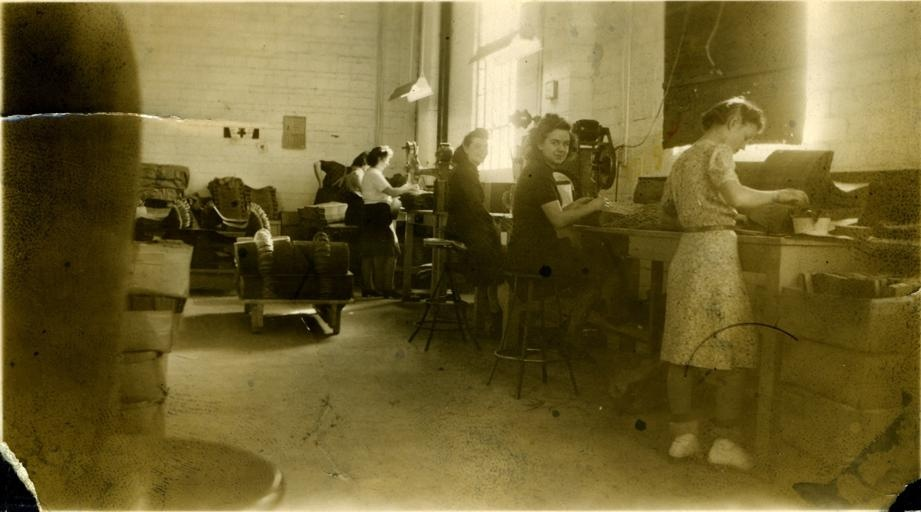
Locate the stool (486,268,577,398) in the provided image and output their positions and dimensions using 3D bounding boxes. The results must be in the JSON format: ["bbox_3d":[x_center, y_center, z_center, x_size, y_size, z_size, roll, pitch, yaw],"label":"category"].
[{"bbox_3d":[0.732,0.592,6.030,0.702,0.804,0.646,-13,-9,-31],"label":"stool"}]

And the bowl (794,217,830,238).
[{"bbox_3d":[2.251,-0.187,4.821,0.293,0.116,0.118,-4,7,-25],"label":"bowl"}]

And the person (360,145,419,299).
[{"bbox_3d":[-0.879,-0.405,8.978,0.603,1.750,0.915,-2,7,-7],"label":"person"}]

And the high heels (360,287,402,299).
[{"bbox_3d":[-0.937,0.435,9.036,0.533,0.133,0.164,-1,2,-4],"label":"high heels"}]

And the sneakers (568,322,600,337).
[{"bbox_3d":[1.036,0.605,6.359,0.324,0.111,0.067,2,3,-18],"label":"sneakers"}]

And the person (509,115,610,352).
[{"bbox_3d":[0.728,-0.161,5.873,0.759,1.831,0.574,-3,8,-12],"label":"person"}]

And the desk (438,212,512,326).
[{"bbox_3d":[0.142,0.036,6.961,0.449,0.874,0.733,-2,10,-24],"label":"desk"}]
